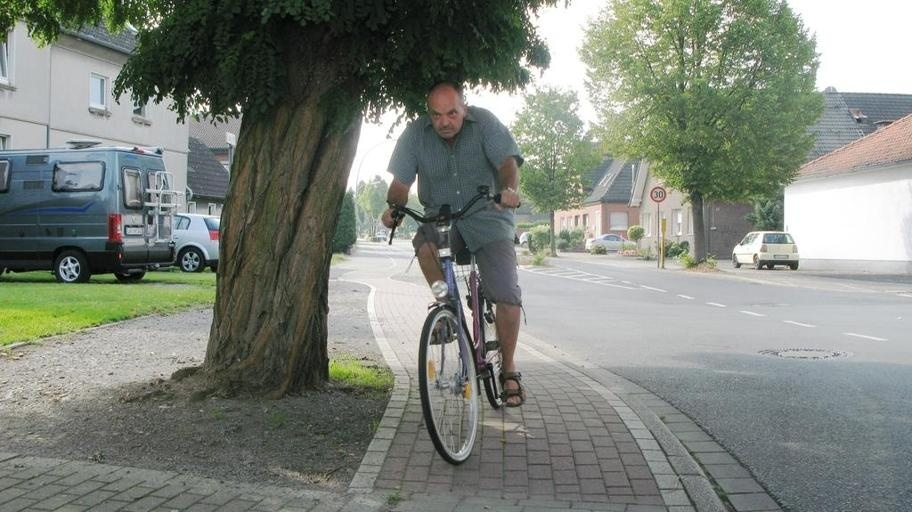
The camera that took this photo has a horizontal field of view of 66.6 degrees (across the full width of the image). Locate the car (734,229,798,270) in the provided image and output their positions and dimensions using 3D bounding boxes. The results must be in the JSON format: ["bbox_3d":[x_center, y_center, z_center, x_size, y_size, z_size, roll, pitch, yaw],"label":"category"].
[{"bbox_3d":[14.113,-0.299,31.859,1.645,1.327,2.789,-1,7,-2],"label":"car"}]

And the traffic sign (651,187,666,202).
[{"bbox_3d":[9.099,-2.743,31.070,0.494,0.682,2.377,4,8,18],"label":"traffic sign"}]

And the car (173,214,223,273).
[{"bbox_3d":[-8.645,-0.402,22.962,1.300,1.858,1.021,-1,9,-22],"label":"car"}]

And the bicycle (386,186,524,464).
[{"bbox_3d":[-0.020,0.690,7.702,0.977,2.954,1.461,6,9,25],"label":"bicycle"}]

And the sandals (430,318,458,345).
[{"bbox_3d":[-0.131,0.820,7.529,0.067,0.264,0.279,1,15,19],"label":"sandals"}]
